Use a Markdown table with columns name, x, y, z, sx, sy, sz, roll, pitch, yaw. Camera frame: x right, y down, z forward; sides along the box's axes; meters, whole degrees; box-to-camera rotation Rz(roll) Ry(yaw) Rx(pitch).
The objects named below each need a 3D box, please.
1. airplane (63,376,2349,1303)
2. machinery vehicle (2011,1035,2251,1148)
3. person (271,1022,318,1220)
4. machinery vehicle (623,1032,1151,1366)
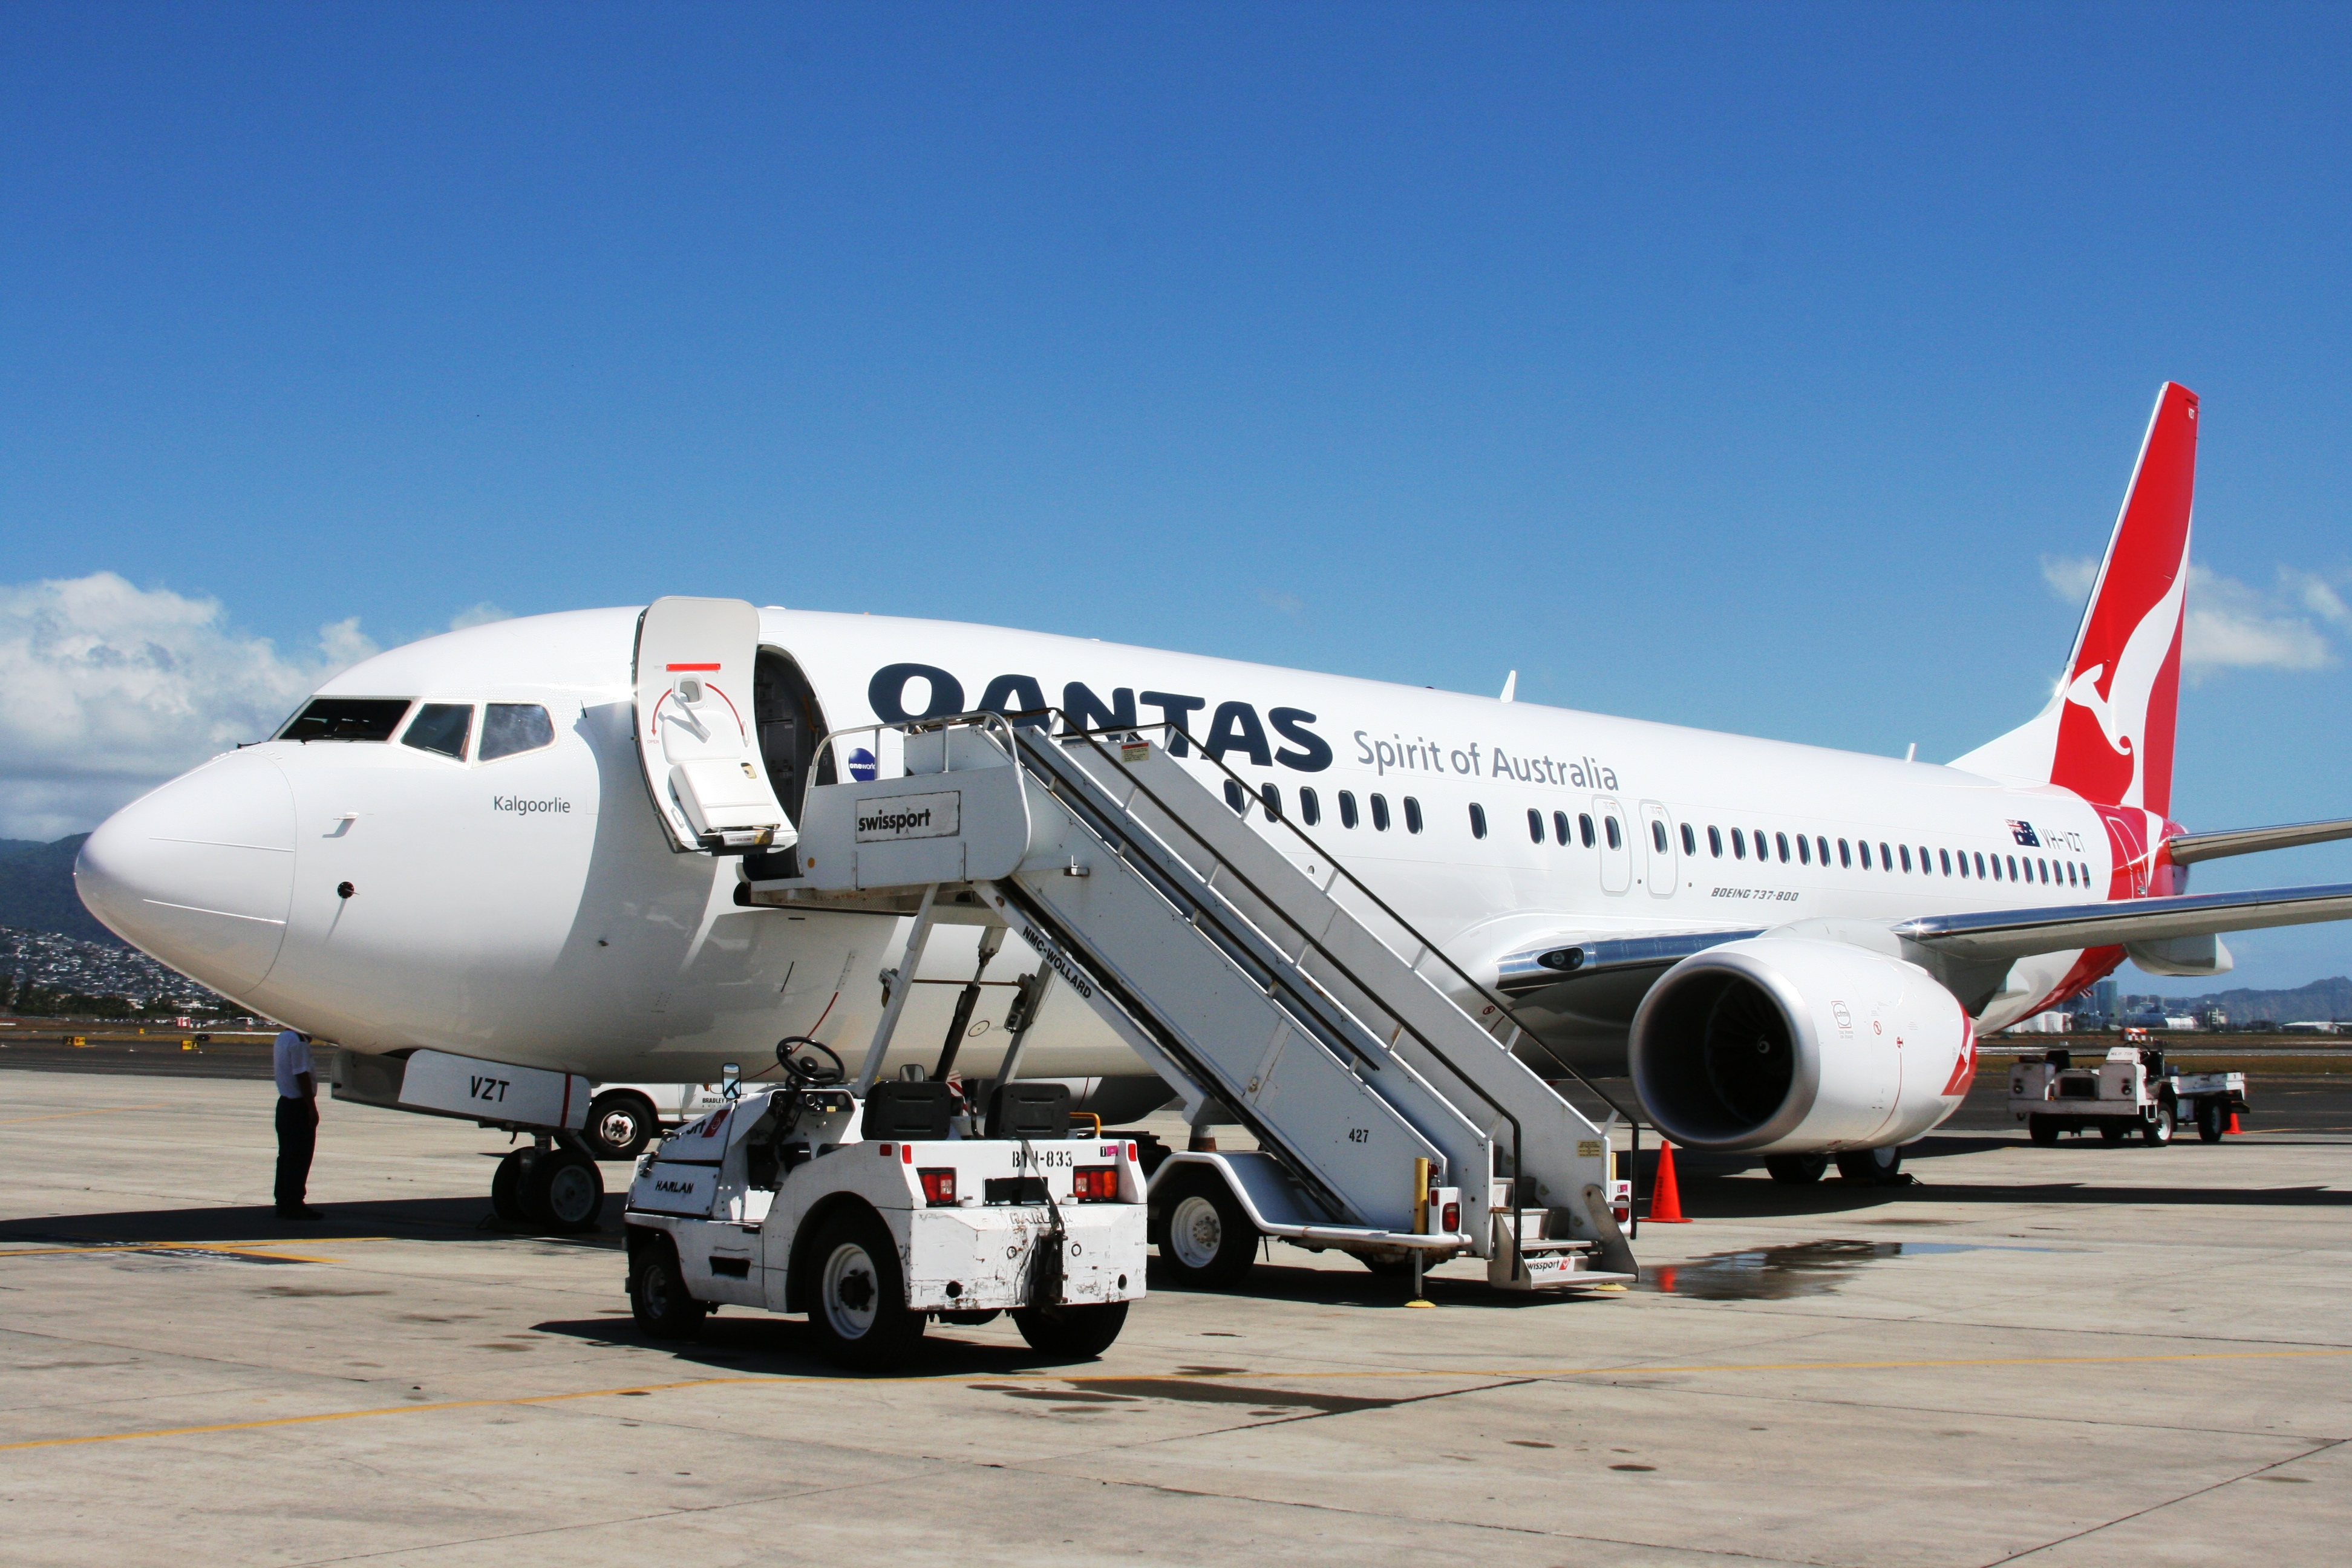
| name | x | y | z | sx | sy | sz | roll | pitch | yaw |
| --- | --- | --- | --- | --- | --- | --- | --- | --- | --- |
| airplane | 1.004 | 0.682 | 19.809 | 14.393 | 4.286 | 13.875 | 6 | -8 | -43 |
| machinery vehicle | 14.602 | 4.762 | 34.219 | 3.266 | 0.960 | 1.906 | 6 | -9 | -42 |
| person | -7.639 | 2.929 | 19.452 | 0.371 | 1.613 | 1.011 | 5 | -7 | -15 |
| machinery vehicle | -1.907 | 2.646 | 14.070 | 3.094 | 1.347 | 1.926 | -6 | -8 | 42 |
